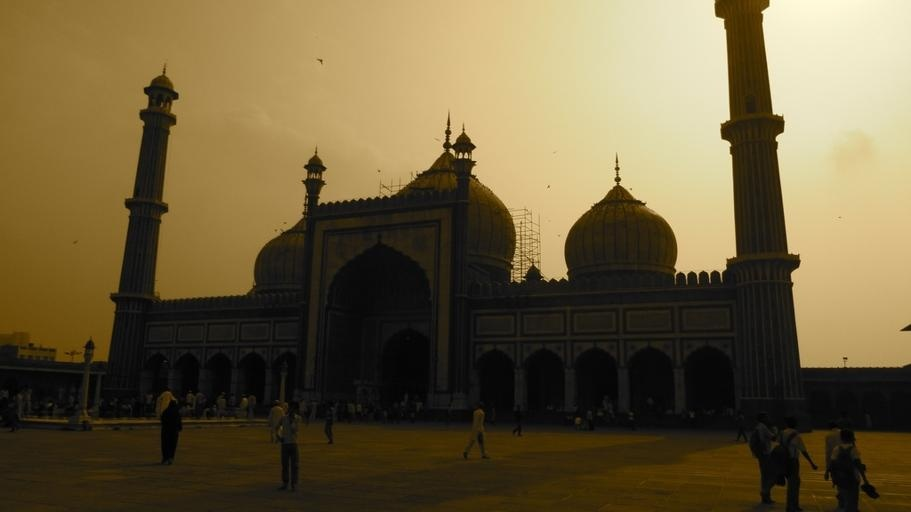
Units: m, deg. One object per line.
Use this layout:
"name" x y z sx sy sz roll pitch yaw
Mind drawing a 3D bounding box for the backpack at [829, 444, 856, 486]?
"backpack" 9.446 5.114 19.278 0.591 0.967 0.168 -6 -19 18

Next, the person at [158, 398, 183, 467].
"person" -8.336 5.001 22.971 0.523 2.098 1.113 6 -19 -19
